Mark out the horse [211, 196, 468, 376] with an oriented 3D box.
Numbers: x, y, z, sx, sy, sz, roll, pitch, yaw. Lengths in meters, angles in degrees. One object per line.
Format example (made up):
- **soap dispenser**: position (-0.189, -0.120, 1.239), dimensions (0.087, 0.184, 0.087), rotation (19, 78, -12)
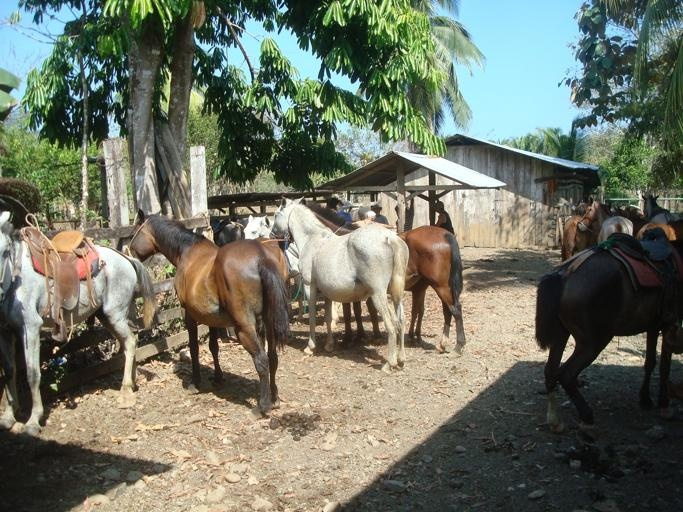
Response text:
- **horse**: position (-0.059, 0.571, 9.164), dimensions (2.688, 2.651, 0.894), rotation (2, 4, 42)
